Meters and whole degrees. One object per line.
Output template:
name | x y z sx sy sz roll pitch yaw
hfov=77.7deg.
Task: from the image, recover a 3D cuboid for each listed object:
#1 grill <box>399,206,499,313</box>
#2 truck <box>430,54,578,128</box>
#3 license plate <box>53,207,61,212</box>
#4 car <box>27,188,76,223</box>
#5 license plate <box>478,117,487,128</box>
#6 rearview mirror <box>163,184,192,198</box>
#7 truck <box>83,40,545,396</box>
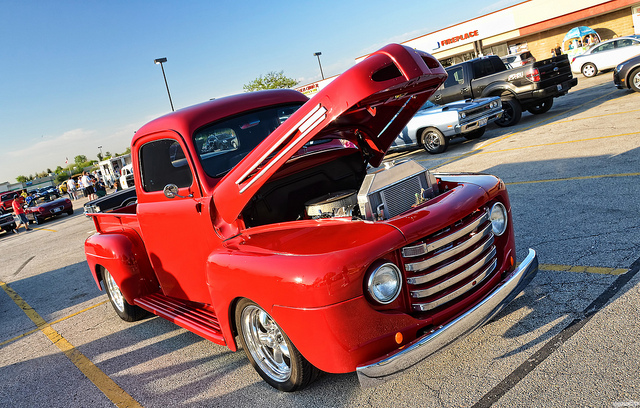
grill | 1.189 0.543 3.797 1.120 0.592 0.180 -16 9 -25
truck | 5.560 -4.363 16.630 7.892 2.576 4.091 11 25 41
license plate | -16.198 0.345 24.327 0.315 0.193 0.284 -7 5 -37
car | -17.273 0.102 25.318 2.311 1.865 2.963 -25 16 -32
license plate | 5.285 -2.646 12.924 0.315 0.262 0.083 -11 25 -42
rearview mirror | -1.651 -0.150 4.619 0.283 0.149 0.159 9 -10 37
truck | -0.833 0.043 5.584 6.160 2.471 3.398 5 20 45
